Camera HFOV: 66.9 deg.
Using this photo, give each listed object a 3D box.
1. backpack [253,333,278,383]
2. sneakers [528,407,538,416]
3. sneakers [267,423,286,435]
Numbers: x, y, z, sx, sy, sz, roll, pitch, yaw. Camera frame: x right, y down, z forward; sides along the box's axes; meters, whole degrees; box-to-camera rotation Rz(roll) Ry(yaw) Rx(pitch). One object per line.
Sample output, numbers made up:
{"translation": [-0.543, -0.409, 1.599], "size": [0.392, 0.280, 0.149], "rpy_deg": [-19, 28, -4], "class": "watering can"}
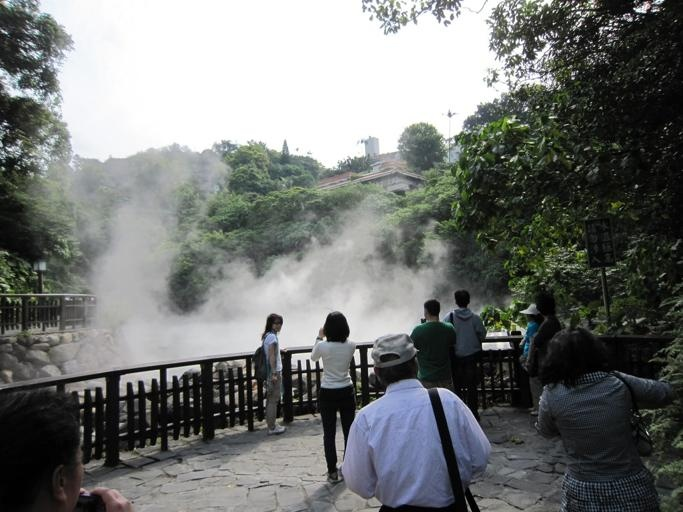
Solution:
{"translation": [-1.154, 1.495, 7.660], "size": [0.441, 0.660, 0.243], "rpy_deg": [-2, 1, 30], "class": "backpack"}
{"translation": [3.078, 2.481, 8.297], "size": [0.108, 0.136, 0.321], "rpy_deg": [-4, -15, 18], "class": "sneakers"}
{"translation": [-0.987, 2.630, 7.905], "size": [0.220, 0.109, 0.124], "rpy_deg": [3, -3, -38], "class": "sneakers"}
